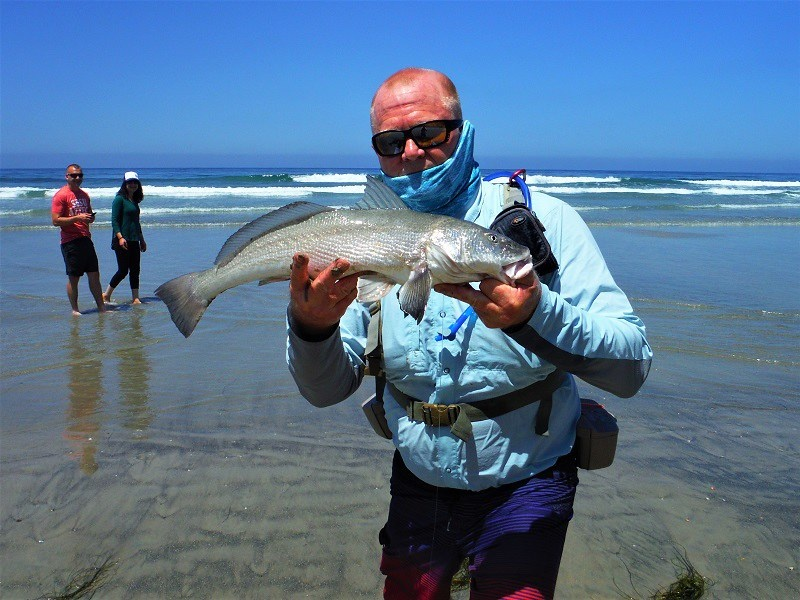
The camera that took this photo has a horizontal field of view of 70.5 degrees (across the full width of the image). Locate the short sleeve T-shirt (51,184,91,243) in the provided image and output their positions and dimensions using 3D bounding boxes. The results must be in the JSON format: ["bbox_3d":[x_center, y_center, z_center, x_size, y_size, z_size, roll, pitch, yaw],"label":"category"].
[{"bbox_3d":[-5.903,-1.565,10.192,0.581,0.996,0.480,-9,19,-29],"label":"short sleeve T-shirt"}]

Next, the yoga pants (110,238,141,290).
[{"bbox_3d":[-5.386,-0.714,11.050,0.448,1.218,0.487,-11,-8,37],"label":"yoga pants"}]

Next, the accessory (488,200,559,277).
[{"bbox_3d":[0.660,-0.338,2.942,0.375,0.288,0.150,47,22,3],"label":"accessory"}]

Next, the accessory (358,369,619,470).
[{"bbox_3d":[0.569,0.619,3.144,1.042,0.415,0.780,2,8,-2],"label":"accessory"}]

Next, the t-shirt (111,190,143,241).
[{"bbox_3d":[-5.329,-1.608,11.008,0.523,0.919,0.508,-10,20,-32],"label":"t-shirt"}]
